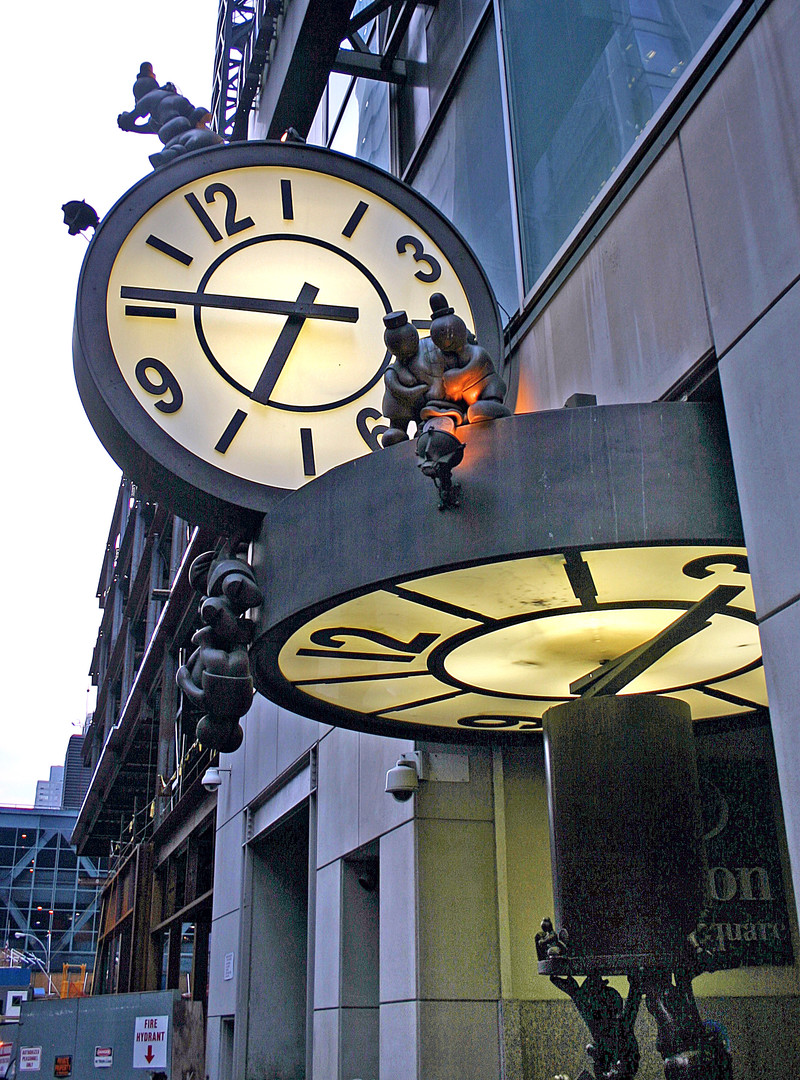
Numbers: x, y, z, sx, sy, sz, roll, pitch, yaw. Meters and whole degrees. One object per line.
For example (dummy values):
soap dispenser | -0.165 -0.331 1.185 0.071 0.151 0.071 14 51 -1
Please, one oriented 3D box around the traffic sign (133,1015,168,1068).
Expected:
traffic sign | -3.973 7.962 13.186 0.503 1.050 0.088 -2 -27 -1
